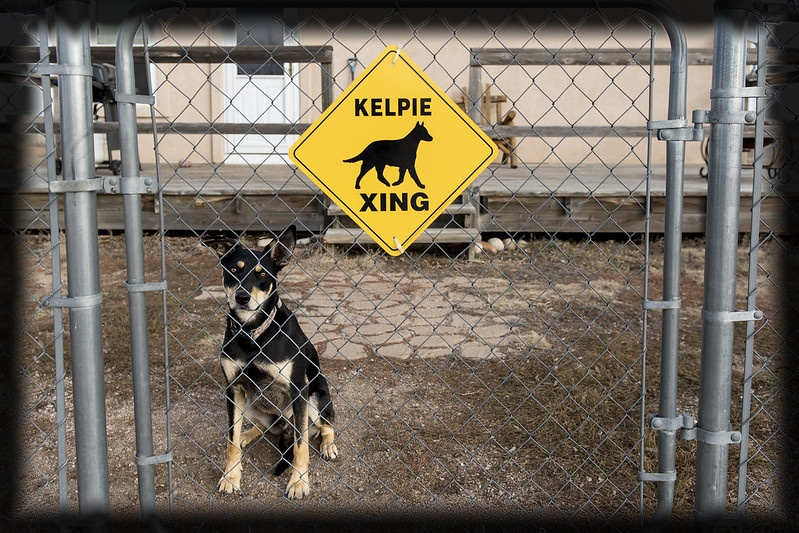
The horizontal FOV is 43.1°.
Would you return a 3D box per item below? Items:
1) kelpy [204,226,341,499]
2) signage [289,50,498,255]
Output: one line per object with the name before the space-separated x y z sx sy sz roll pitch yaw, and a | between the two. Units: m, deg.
kelpy | -0.902 0.653 7.188 0.867 1.841 0.688 -2 8 -8
signage | -0.029 -0.717 6.373 1.320 1.272 0.149 -3 14 -14
